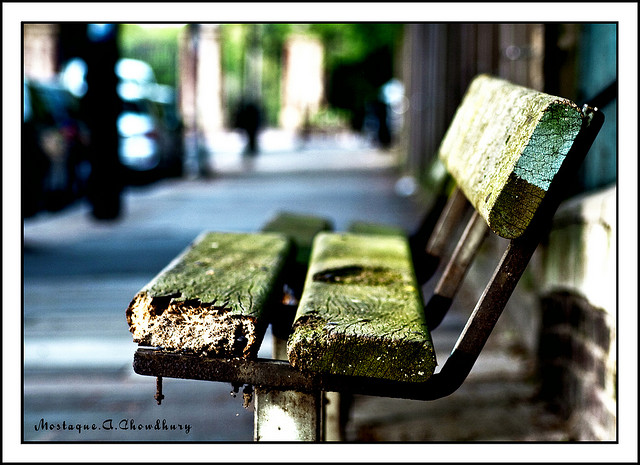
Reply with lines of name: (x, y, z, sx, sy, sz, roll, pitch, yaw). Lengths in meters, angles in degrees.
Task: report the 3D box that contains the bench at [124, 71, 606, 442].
bench: (0.137, 0.164, 2.653, 1.112, 1.146, 1.797, 1, 7, 3)
